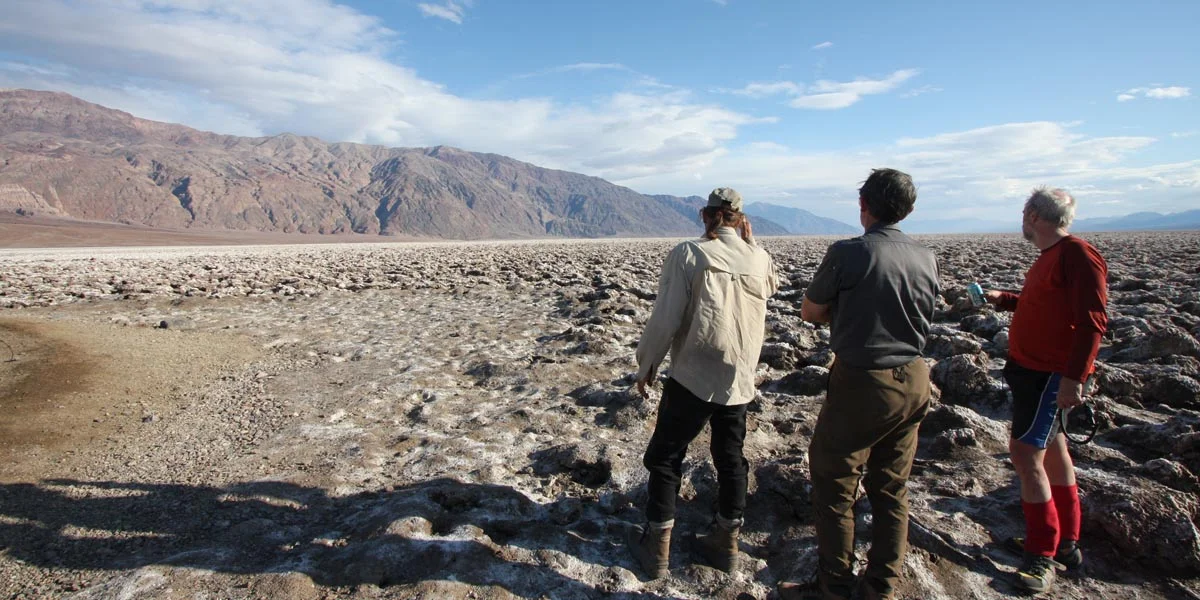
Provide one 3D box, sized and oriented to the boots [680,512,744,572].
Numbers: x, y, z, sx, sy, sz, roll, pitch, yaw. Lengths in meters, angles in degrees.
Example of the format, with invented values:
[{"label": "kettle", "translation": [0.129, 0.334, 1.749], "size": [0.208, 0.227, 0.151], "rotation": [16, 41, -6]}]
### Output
[{"label": "boots", "translation": [1.471, 2.971, 7.708], "size": [0.374, 0.640, 0.757], "rotation": [6, 0, -42]}]
